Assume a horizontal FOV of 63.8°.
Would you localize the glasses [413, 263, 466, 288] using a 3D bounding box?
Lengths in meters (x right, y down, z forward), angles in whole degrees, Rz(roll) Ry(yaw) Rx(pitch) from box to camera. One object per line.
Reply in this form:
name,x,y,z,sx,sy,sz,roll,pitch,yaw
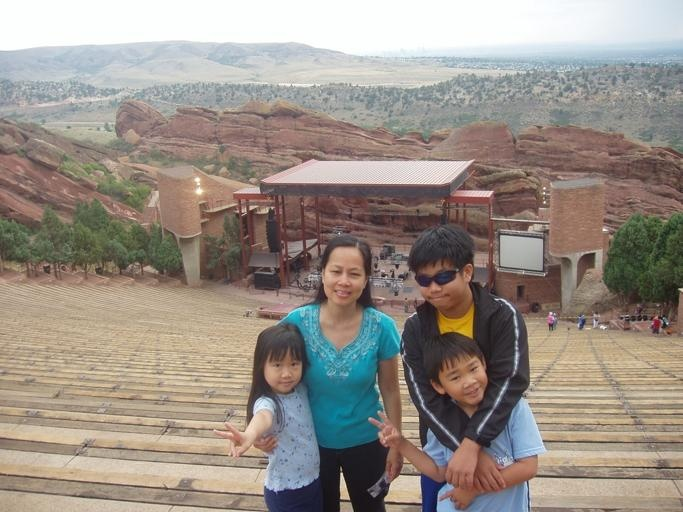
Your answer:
glasses,0.720,0.156,4.014,0.329,0.160,0.121,0,6,8
